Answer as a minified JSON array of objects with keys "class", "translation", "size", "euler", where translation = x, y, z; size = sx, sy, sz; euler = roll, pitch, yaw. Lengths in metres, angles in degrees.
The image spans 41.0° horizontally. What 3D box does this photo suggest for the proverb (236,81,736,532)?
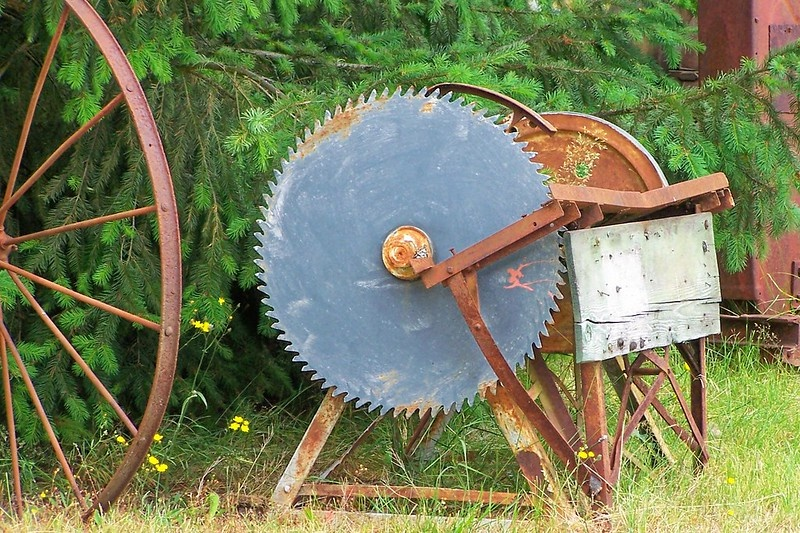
[{"class":"proverb","translation":[0.546,0.202,6.819],"size":[2.814,2.410,0.885],"euler":[2,1,7]}]
